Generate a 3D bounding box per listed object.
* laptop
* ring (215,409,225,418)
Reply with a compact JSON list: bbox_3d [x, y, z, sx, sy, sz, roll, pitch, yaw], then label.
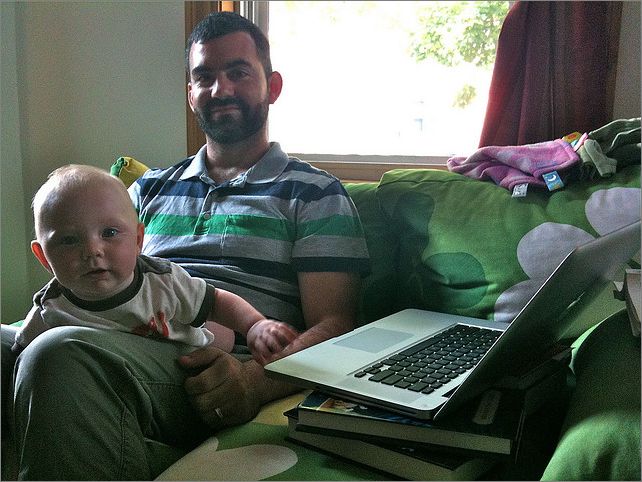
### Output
[{"bbox_3d":[0.251,0.109,0.975,0.556,0.288,0.438,2,8,30],"label":"laptop"},{"bbox_3d":[-0.194,0.333,1.033,0.015,0.019,0.002,-3,7,-7],"label":"ring"}]
